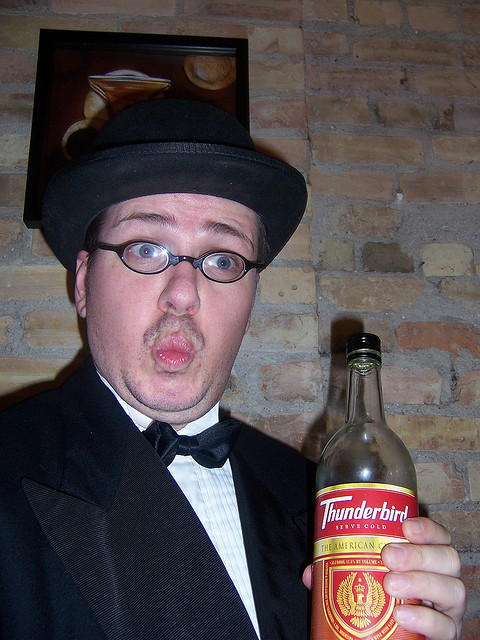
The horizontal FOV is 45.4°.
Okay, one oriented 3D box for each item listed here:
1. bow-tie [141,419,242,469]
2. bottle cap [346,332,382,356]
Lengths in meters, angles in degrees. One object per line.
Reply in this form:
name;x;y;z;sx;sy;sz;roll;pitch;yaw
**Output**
bow-tie;-0.104;0.221;1.023;0.204;0.095;0.053;1;6;1
bottle cap;0.170;0.031;0.748;0.033;0.022;0.032;3;-4;0
